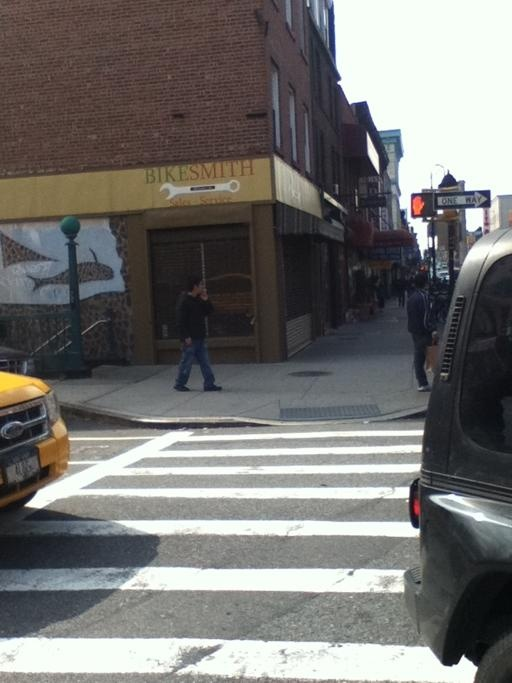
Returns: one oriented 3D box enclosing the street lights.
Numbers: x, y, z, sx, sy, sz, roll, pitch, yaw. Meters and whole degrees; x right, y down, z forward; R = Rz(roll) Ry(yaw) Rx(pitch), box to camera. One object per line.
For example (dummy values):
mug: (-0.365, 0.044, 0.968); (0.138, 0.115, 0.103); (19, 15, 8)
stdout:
street lights: (-3.473, -0.852, 14.691); (0.349, 3.036, 0.758); (-3, 3, -14)

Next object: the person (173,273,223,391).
person: (-0.966, -0.100, 12.497); (0.639, 1.829, 0.601); (-4, 3, -31)

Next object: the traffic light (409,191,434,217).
traffic light: (2.557, -2.102, 11.991); (0.349, 0.395, 0.685); (-2, 4, 13)
